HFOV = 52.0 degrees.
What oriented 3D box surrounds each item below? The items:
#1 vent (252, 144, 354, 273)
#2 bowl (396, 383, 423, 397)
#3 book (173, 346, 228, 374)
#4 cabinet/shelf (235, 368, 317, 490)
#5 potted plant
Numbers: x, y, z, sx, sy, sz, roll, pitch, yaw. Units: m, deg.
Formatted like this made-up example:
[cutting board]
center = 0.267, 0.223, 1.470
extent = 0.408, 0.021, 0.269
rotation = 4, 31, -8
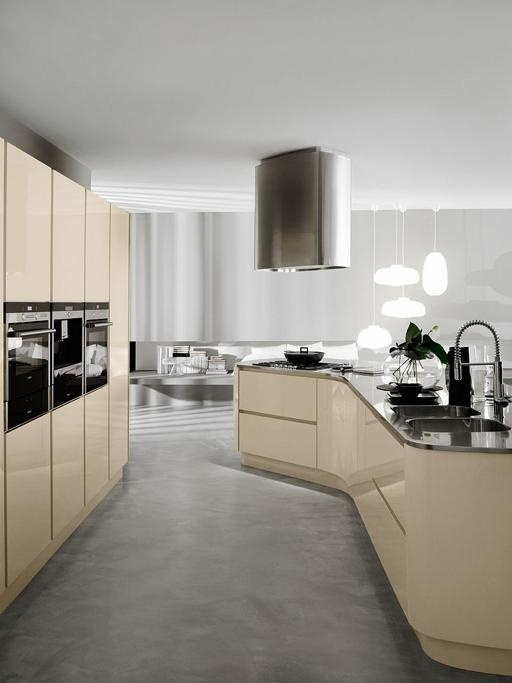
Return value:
[vent]
center = 0.356, -1.129, 4.555
extent = 0.536, 1.039, 0.837
rotation = -7, 9, -44
[bowl]
center = 0.816, 0.266, 2.804
extent = 0.120, 0.071, 0.074
rotation = 0, -1, 20
[book]
center = -0.849, 0.281, 7.821
extent = 0.863, 0.405, 0.229
rotation = 1, -1, -10
[cabinet/shelf]
center = 0.192, 0.741, 4.469
extent = 0.841, 0.893, 0.458
rotation = 2, 2, 43
[potted plant]
center = 0.911, 0.087, 2.973
extent = 0.308, 0.376, 0.345
rotation = 0, -1, 16
